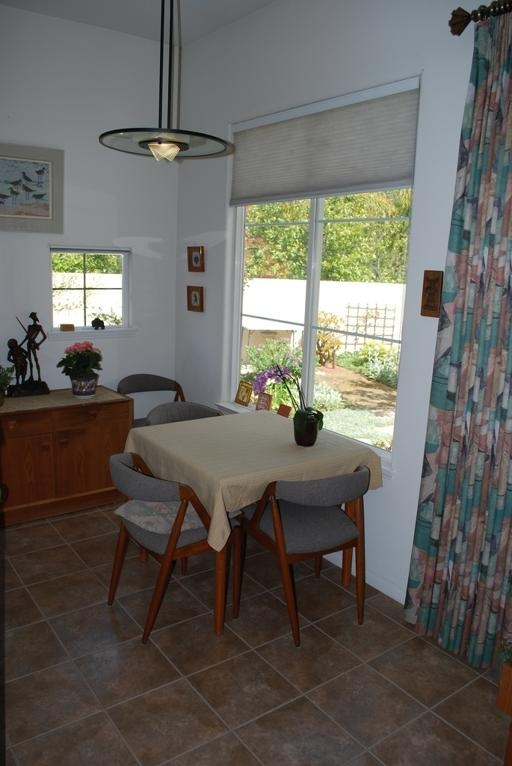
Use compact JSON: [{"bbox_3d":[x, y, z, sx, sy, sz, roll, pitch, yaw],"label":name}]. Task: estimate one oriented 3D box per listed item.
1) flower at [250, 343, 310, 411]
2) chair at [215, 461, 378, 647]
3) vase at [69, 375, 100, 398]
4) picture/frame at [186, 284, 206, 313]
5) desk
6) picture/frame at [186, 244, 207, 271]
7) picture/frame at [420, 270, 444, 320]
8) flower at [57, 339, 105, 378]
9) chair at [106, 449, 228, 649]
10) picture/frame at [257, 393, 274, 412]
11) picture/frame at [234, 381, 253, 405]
[{"bbox_3d":[0.118,-0.043,3.588,0.408,0.240,0.411,4,-2,-15],"label":"flower"},{"bbox_3d":[0.233,0.733,2.463,0.566,0.772,0.536,0,6,-29],"label":"chair"},{"bbox_3d":[-1.187,0.023,3.685,0.143,0.119,0.162,0,-1,-3],"label":"vase"},{"bbox_3d":[-0.480,-0.688,4.312,0.022,0.221,0.215,-8,14,-34],"label":"picture/frame"},{"bbox_3d":[-0.051,0.593,2.864,1.120,0.639,1.132,-7,14,-41],"label":"desk"},{"bbox_3d":[-0.467,-0.997,4.248,0.025,0.228,0.229,-4,9,-34],"label":"picture/frame"},{"bbox_3d":[0.792,-0.403,2.430,0.044,0.218,0.134,1,6,-16],"label":"picture/frame"},{"bbox_3d":[-1.209,-0.160,3.727,0.255,0.263,0.186,2,5,-3],"label":"flower"},{"bbox_3d":[-0.415,0.708,2.416,0.491,0.764,0.681,-2,7,-39],"label":"chair"},{"bbox_3d":[0.058,0.123,3.613,0.111,0.107,0.030,12,4,42],"label":"picture/frame"},{"bbox_3d":[-0.090,0.076,3.961,0.018,0.172,0.141,6,7,-40],"label":"picture/frame"}]
